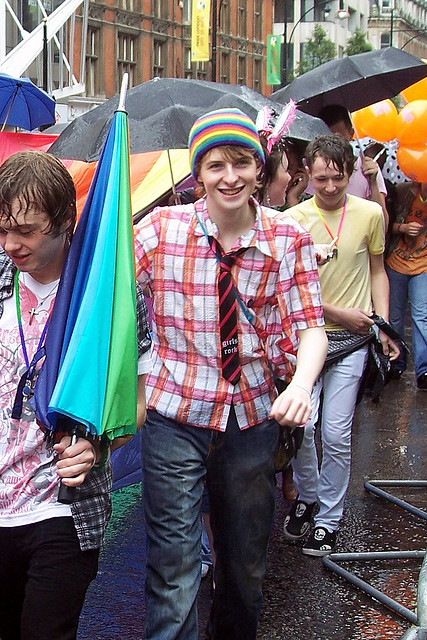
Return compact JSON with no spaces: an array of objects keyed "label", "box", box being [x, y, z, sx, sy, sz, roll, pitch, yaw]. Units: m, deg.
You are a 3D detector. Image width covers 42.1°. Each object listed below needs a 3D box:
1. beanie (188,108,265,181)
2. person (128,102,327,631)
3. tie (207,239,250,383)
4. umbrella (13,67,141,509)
[{"label":"beanie","box":[0.039,-0.532,1.635,0.187,0.172,0.162,6,22,10]},{"label":"person","box":[0.056,0.192,1.661,0.549,1.594,0.719,-2,15,-7]},{"label":"tie","box":[0.036,-0.030,1.628,0.111,0.405,0.118,1,15,5]},{"label":"umbrella","box":[-0.320,-0.096,1.272,0.282,0.963,0.537,-2,14,-8]}]
